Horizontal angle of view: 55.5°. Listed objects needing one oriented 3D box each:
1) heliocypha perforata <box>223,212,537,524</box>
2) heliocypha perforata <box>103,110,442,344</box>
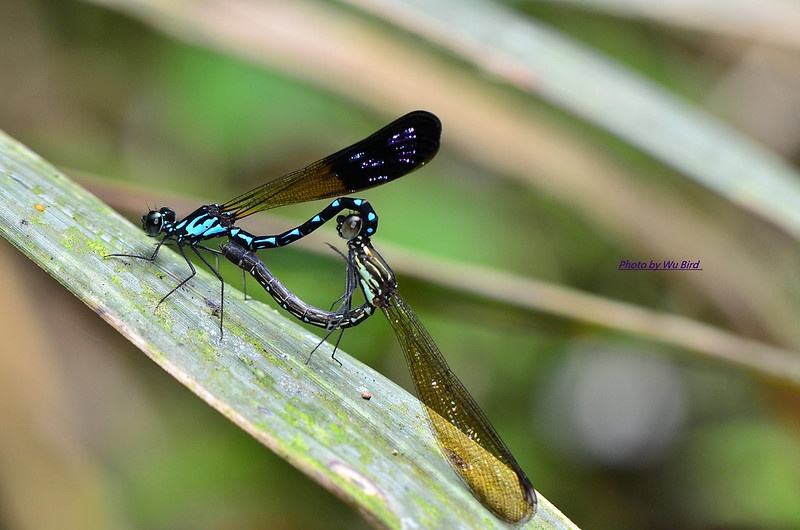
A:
[{"bbox_3d":[-0.261,0.616,4.149,0.760,0.831,2.332,-12,55,-48],"label":"heliocypha perforata"},{"bbox_3d":[-0.842,-0.335,4.572,2.048,1.035,0.965,0,-3,2],"label":"heliocypha perforata"}]
